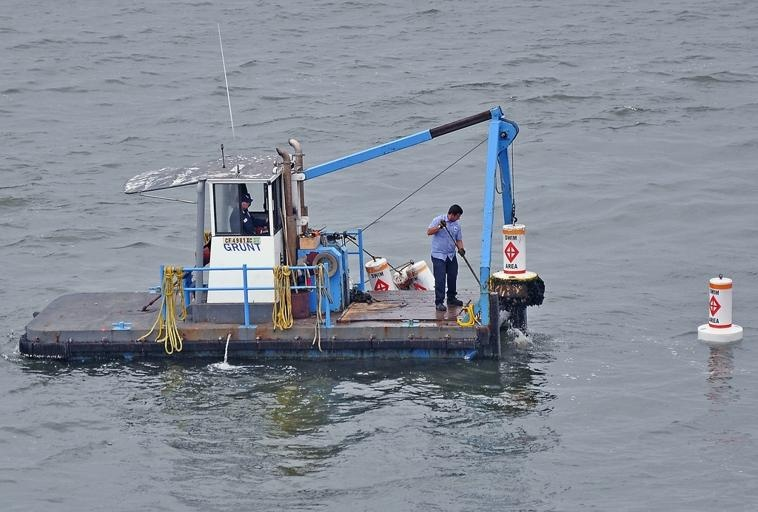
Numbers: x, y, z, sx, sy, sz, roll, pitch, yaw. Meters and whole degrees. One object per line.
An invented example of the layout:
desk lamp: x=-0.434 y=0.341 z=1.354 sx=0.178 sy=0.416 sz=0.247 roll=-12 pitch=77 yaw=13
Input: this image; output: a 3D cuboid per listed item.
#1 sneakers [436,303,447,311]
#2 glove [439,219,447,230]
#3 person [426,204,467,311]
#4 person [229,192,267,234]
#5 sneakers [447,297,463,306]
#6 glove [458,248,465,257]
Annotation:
sneakers: x=1.835 y=1.561 z=60.066 sx=0.324 sy=0.155 sz=0.182 roll=-2 pitch=6 yaw=19
glove: x=1.874 y=-1.069 z=59.844 sx=0.294 sy=0.217 sz=0.191 roll=1 pitch=5 yaw=-4
person: x=2.028 y=-0.022 z=60.174 sx=1.037 sy=3.344 sz=0.903 roll=-5 pitch=8 yaw=1
person: x=-4.312 y=-1.388 z=59.768 sx=1.136 sy=1.350 sz=0.304 roll=-5 pitch=8 yaw=-9
sneakers: x=2.294 y=1.391 z=60.326 sx=0.491 sy=0.170 sz=0.232 roll=1 pitch=13 yaw=1
glove: x=2.446 y=-0.202 z=59.839 sx=0.234 sy=0.213 sz=0.242 roll=-5 pitch=-10 yaw=21
